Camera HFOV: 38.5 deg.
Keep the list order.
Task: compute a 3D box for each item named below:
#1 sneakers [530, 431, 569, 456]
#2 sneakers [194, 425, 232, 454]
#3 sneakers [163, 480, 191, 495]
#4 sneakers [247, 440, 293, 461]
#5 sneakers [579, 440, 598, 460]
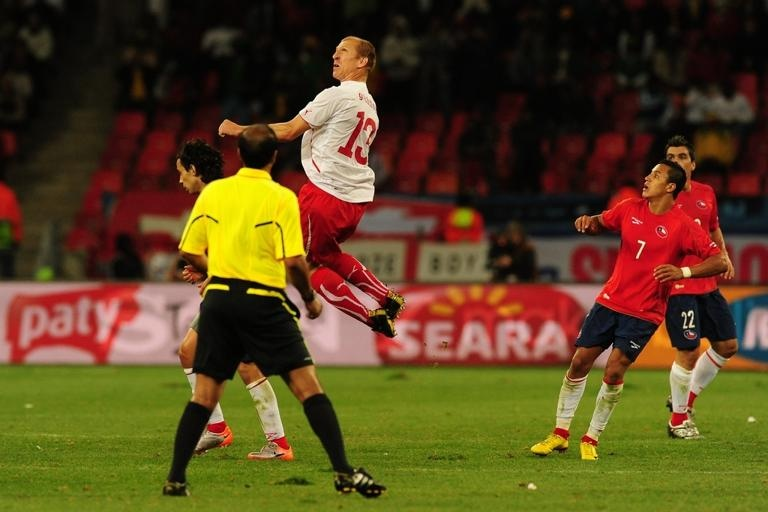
[{"bbox_3d":[2.001,2.292,13.456,0.514,0.226,0.201,-4,34,-28],"label":"sneakers"},{"bbox_3d":[-1.991,2.206,13.385,0.542,0.257,0.196,-22,-4,-4],"label":"sneakers"},{"bbox_3d":[-2.216,2.490,11.794,0.311,0.112,0.135,2,-11,-21],"label":"sneakers"},{"bbox_3d":[-1.324,2.333,13.208,0.564,0.239,0.222,3,-6,3],"label":"sneakers"},{"bbox_3d":[2.464,2.340,13.243,0.126,0.138,0.342,-4,20,2],"label":"sneakers"}]
